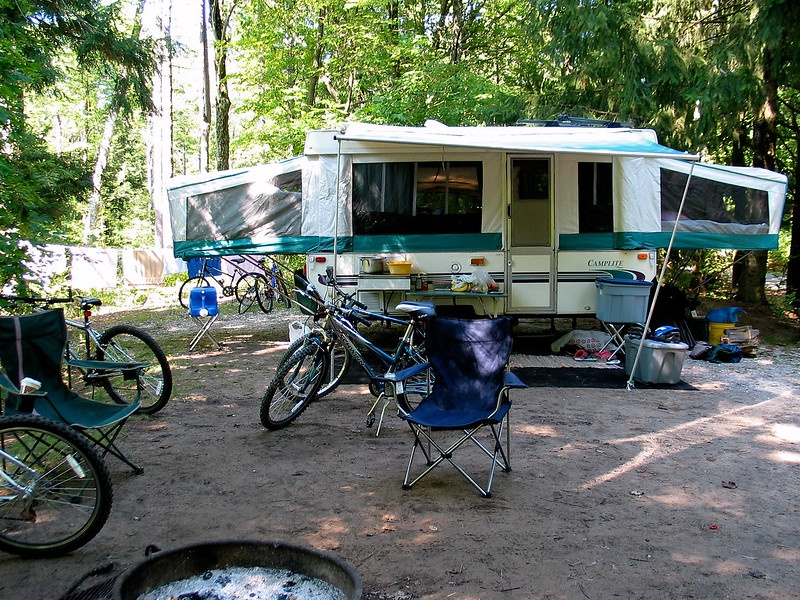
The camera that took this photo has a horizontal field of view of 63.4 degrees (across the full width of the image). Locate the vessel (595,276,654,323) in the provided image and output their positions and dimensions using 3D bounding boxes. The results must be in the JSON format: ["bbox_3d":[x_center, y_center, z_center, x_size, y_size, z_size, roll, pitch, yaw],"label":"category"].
[{"bbox_3d":[2.759,0.006,7.937,0.577,0.474,0.627,4,-3,0],"label":"vessel"}]

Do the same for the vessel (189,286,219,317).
[{"bbox_3d":[-2.675,0.010,8.944,0.408,0.361,0.530,-1,10,-11],"label":"vessel"}]

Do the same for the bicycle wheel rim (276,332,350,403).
[{"bbox_3d":[-0.823,0.663,6.280,0.167,0.626,0.719,25,16,38],"label":"bicycle wheel rim"}]

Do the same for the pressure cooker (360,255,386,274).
[{"bbox_3d":[-0.366,-0.456,8.484,0.263,0.140,0.248,0,0,14],"label":"pressure cooker"}]

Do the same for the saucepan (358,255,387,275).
[{"bbox_3d":[-0.349,-0.448,8.561,0.278,0.147,0.261,0,0,13],"label":"saucepan"}]

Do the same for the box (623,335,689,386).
[{"bbox_3d":[3.002,0.704,7.730,0.513,0.450,0.684,2,3,-8],"label":"box"}]

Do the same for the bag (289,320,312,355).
[{"bbox_3d":[-1.109,0.386,7.000,0.293,0.359,0.131,12,9,20],"label":"bag"}]

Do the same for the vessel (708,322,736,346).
[{"bbox_3d":[4.492,0.470,9.042,0.347,0.298,0.341,0,-1,34],"label":"vessel"}]
